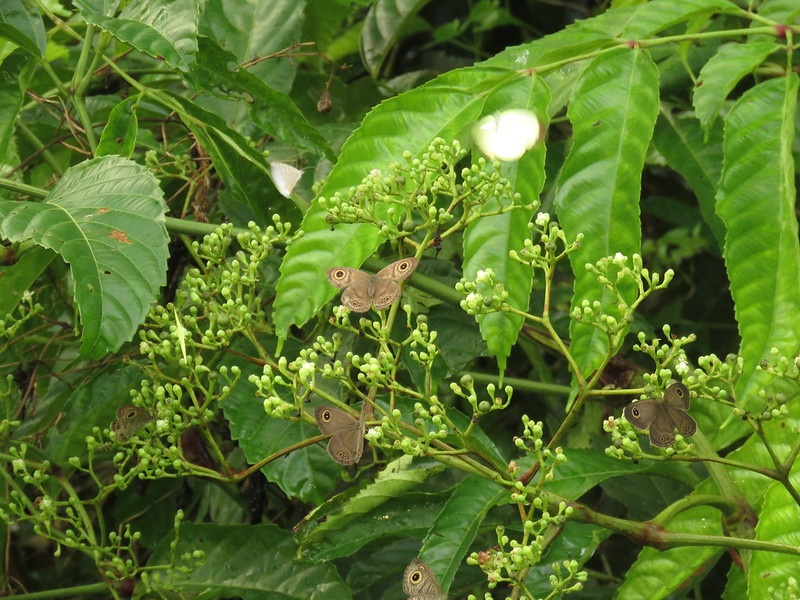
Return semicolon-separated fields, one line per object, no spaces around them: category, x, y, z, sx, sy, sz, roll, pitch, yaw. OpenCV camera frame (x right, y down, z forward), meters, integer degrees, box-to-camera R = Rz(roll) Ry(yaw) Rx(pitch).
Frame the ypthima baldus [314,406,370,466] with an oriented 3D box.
ypthima baldus;-0.116;0.263;2.151;0.092;0.119;0.049;10;6;12

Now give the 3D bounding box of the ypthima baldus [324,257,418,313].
ypthima baldus;-0.062;-0.026;2.224;0.168;0.115;0.041;-3;6;14
